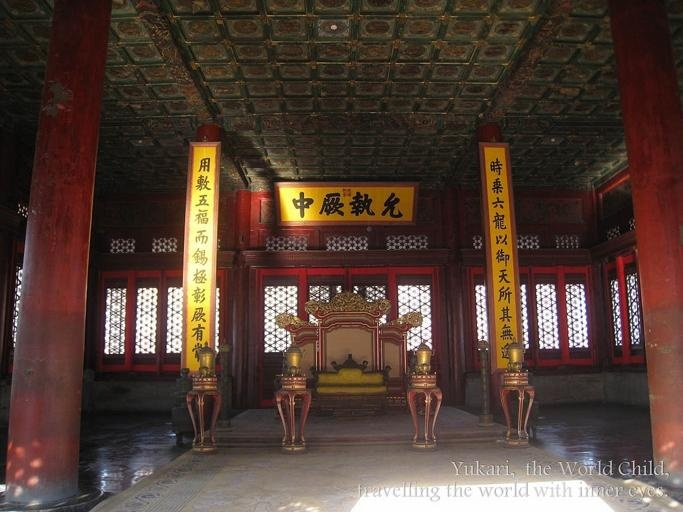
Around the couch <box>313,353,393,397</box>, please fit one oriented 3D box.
[{"bbox_3d":[0.143,1.774,7.593,1.160,0.562,0.346,0,-28,-1],"label":"couch"}]
